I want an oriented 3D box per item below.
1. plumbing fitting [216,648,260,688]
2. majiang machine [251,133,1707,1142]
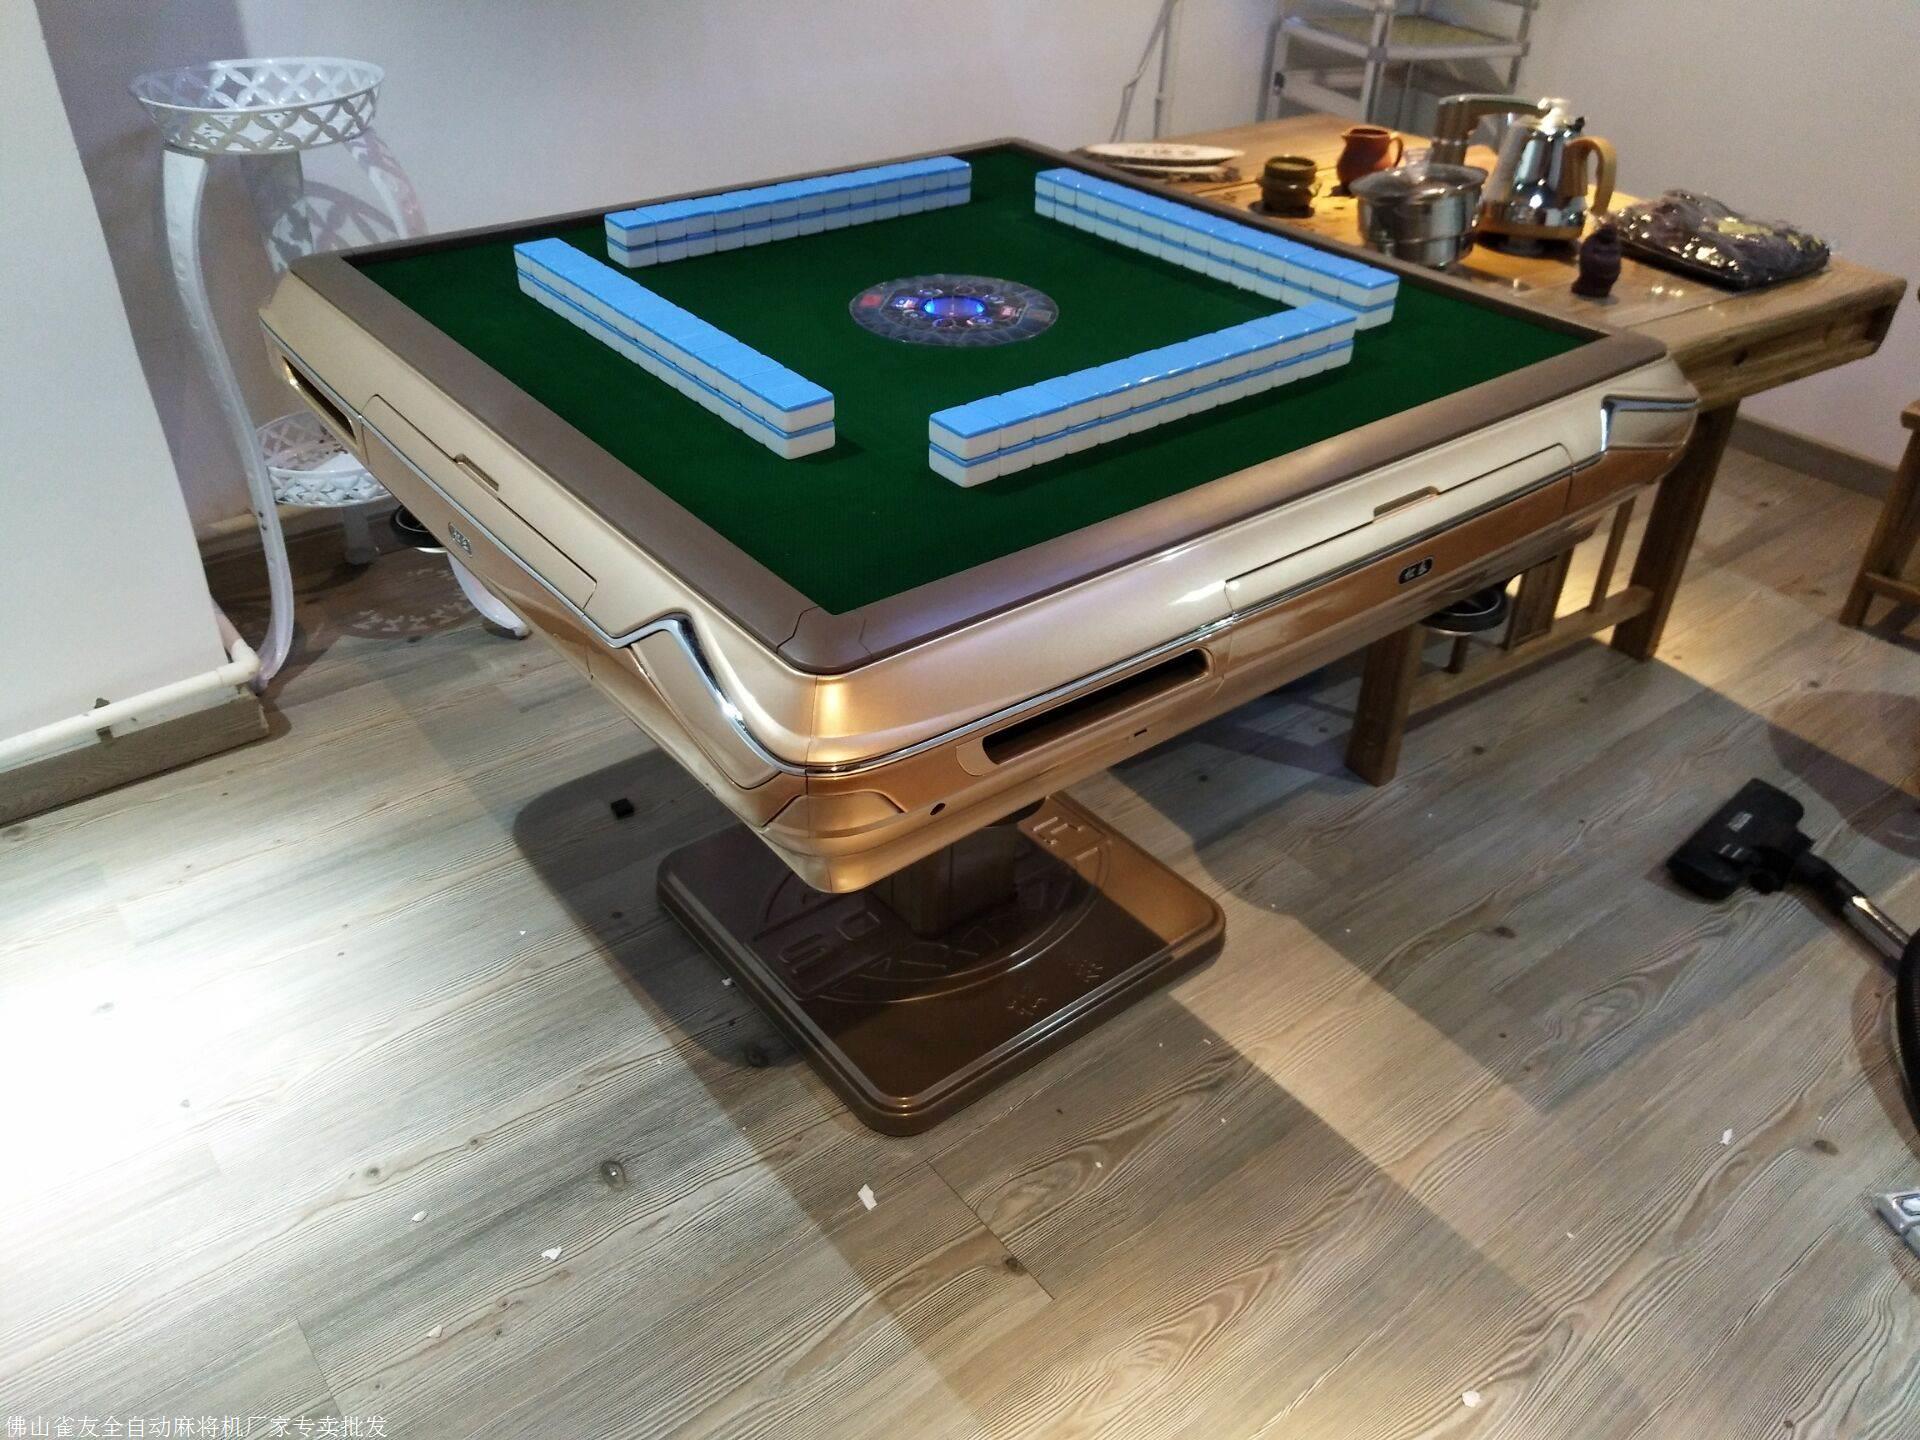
[{"bbox_3d":[-1.358,-0.097,2.691,0.091,0.027,0.074,-19,49,-16],"label":"plumbing fitting"},{"bbox_3d":[-0.016,-0.441,2.002,1.385,0.332,1.375,-24,45,-27],"label":"majiang machine"}]
